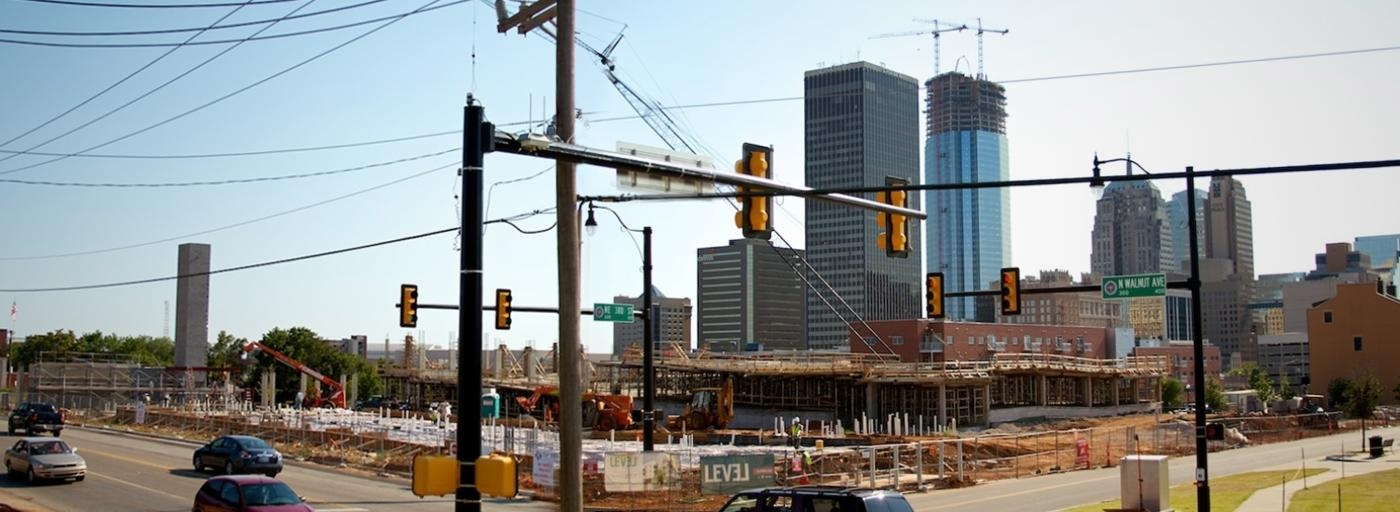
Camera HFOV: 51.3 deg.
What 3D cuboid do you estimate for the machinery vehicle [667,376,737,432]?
[{"bbox_3d":[0.086,50.897,497.180,11.507,16.007,31.718,-1,-3,-41],"label":"machinery vehicle"}]

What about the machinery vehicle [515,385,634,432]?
[{"bbox_3d":[-48.297,52.018,499.661,54.509,14.334,14.330,2,-2,20],"label":"machinery vehicle"}]

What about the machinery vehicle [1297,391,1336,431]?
[{"bbox_3d":[214.259,57.348,506.882,15.093,10.959,13.979,2,2,24],"label":"machinery vehicle"}]
